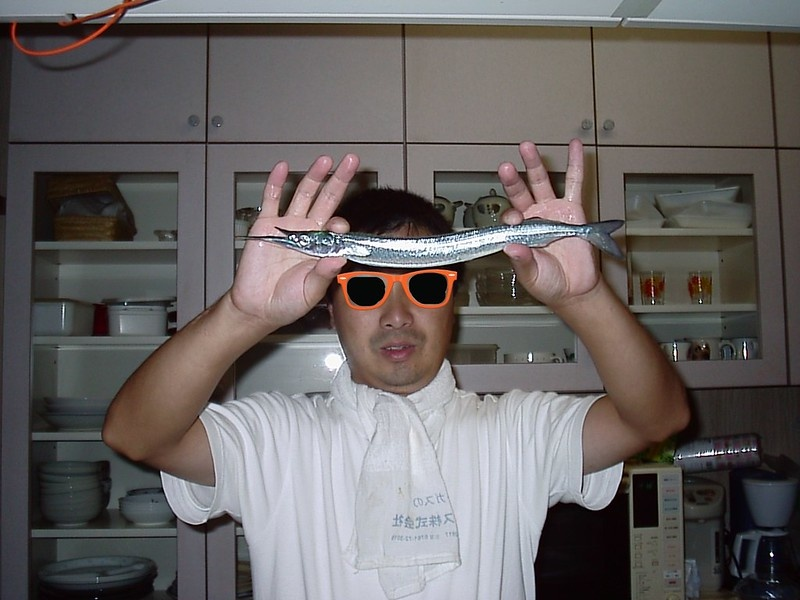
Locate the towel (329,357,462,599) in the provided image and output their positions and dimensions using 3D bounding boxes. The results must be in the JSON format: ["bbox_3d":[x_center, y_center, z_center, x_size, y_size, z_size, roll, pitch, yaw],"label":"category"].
[{"bbox_3d":[-0.013,0.470,1.956,0.329,0.417,0.313,7,12,-5],"label":"towel"}]

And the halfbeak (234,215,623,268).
[{"bbox_3d":[0.086,-0.126,1.726,0.839,0.092,0.054,-2,6,3],"label":"halfbeak"}]

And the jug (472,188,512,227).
[{"bbox_3d":[0.344,-0.334,2.782,0.154,0.165,0.155,2,-2,-15],"label":"jug"}]

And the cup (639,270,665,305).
[{"bbox_3d":[0.944,-0.038,2.805,0.097,0.171,0.113,-4,-4,14],"label":"cup"}]

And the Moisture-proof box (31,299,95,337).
[{"bbox_3d":[-1.200,0.065,2.652,0.146,0.118,0.071,-1,10,-11],"label":"Moisture-proof box"}]

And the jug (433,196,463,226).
[{"bbox_3d":[0.171,-0.336,2.728,0.124,0.104,0.101,8,33,3],"label":"jug"}]
